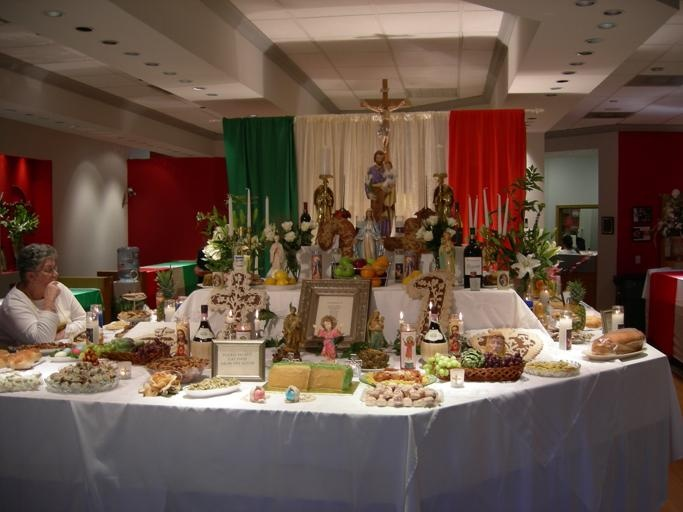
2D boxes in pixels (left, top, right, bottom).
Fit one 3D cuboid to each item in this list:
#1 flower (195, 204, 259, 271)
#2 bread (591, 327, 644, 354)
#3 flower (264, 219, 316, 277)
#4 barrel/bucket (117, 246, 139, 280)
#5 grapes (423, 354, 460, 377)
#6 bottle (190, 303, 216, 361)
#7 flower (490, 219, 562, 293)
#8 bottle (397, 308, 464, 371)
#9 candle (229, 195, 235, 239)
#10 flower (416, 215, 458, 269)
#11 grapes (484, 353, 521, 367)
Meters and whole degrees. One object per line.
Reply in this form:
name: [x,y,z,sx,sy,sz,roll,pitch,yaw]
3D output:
flower: [-0.804,-0.115,4.050,0.489,0.573,0.433,8,5,-35]
bread: [1.711,0.523,3.242,0.314,0.124,0.156,-6,-1,-24]
flower: [-0.405,-0.057,4.022,0.392,0.482,0.221,-6,-42,-9]
barrel/bucket: [-3.323,0.142,8.153,0.351,0.594,0.346,3,4,0]
grapes: [0.563,0.609,2.925,0.120,0.080,0.139,-2,9,2]
bottle: [-0.837,0.497,3.202,0.206,0.355,0.214,-3,-6,0]
flower: [1.368,0.012,4.144,0.520,0.485,0.529,5,-9,-29]
bottle: [0.499,0.505,3.079,0.358,0.394,0.219,-1,2,-2]
candle: [-0.828,-0.307,3.905,0.042,0.260,0.301,-3,1,-11]
flower: [0.655,-0.094,3.891,0.326,0.432,0.353,-4,2,2]
grapes: [0.894,0.582,2.916,0.218,0.103,0.085,1,-24,13]
